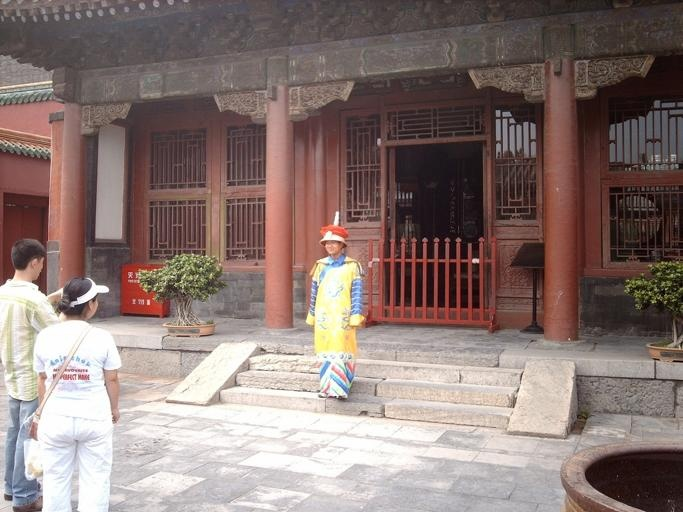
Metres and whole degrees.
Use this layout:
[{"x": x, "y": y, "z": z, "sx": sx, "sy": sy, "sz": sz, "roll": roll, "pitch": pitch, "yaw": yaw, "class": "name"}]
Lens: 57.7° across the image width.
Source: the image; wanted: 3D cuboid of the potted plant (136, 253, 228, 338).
[{"x": -2.054, "y": 0.505, "z": 8.152, "sx": 1.132, "sy": 1.110, "sz": 0.944, "roll": -3, "pitch": -4, "yaw": -17, "class": "potted plant"}]

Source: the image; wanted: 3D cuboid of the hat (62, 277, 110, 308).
[{"x": -1.614, "y": 0.271, "z": 3.926, "sx": 0.255, "sy": 0.076, "sz": 0.172, "roll": -27, "pitch": 45, "yaw": -35, "class": "hat"}]

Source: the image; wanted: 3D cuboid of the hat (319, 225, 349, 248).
[{"x": -0.054, "y": -0.255, "z": 6.470, "sx": 0.270, "sy": 0.150, "sz": 0.286, "roll": 0, "pitch": -15, "yaw": 15, "class": "hat"}]

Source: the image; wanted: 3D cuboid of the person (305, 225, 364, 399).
[{"x": -0.060, "y": 0.567, "z": 6.381, "sx": 0.634, "sy": 1.830, "sz": 0.460, "roll": 1, "pitch": 9, "yaw": 15, "class": "person"}]
